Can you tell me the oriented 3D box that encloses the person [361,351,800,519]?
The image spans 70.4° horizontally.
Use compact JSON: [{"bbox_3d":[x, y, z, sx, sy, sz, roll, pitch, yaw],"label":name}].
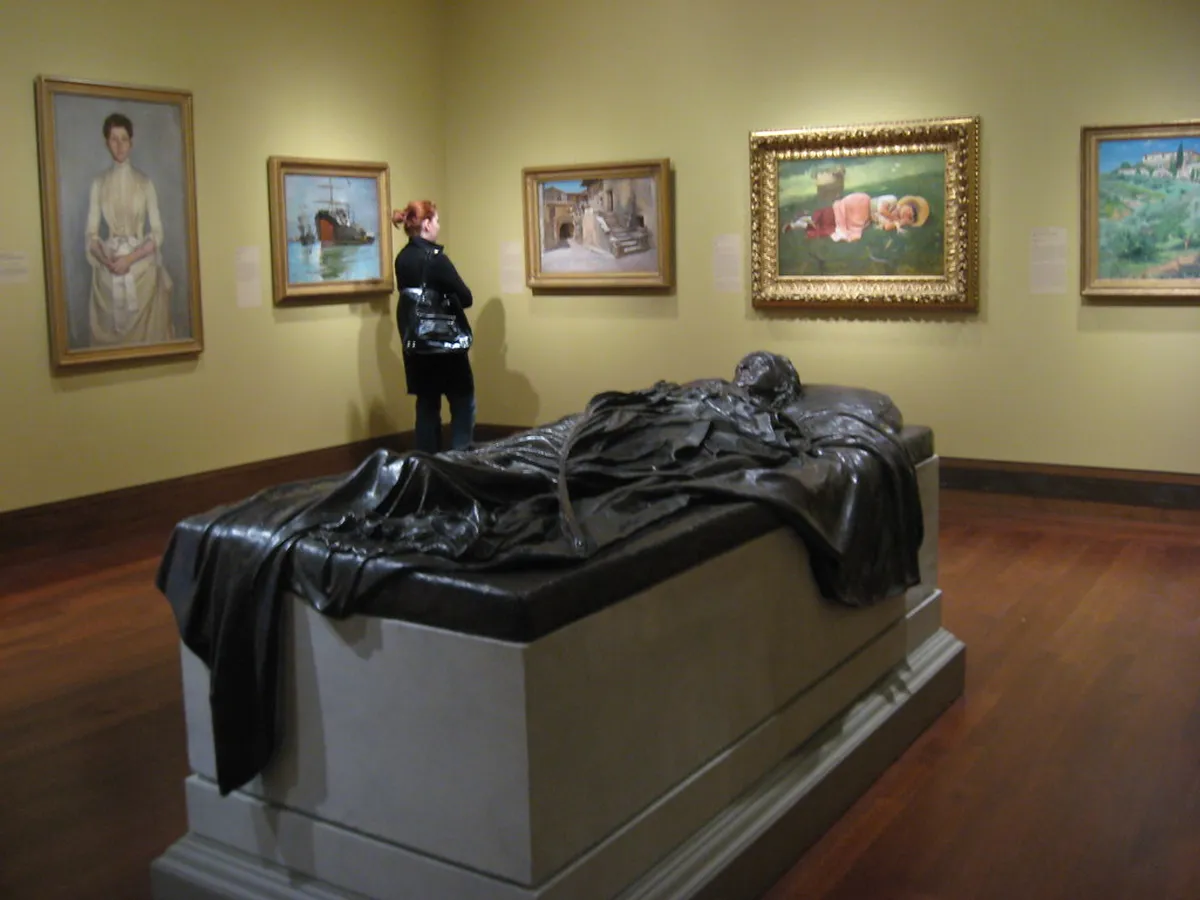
[{"bbox_3d":[0.153,-0.098,3.504,2.356,0.410,1.025,-12,16,-41],"label":"person"}]
